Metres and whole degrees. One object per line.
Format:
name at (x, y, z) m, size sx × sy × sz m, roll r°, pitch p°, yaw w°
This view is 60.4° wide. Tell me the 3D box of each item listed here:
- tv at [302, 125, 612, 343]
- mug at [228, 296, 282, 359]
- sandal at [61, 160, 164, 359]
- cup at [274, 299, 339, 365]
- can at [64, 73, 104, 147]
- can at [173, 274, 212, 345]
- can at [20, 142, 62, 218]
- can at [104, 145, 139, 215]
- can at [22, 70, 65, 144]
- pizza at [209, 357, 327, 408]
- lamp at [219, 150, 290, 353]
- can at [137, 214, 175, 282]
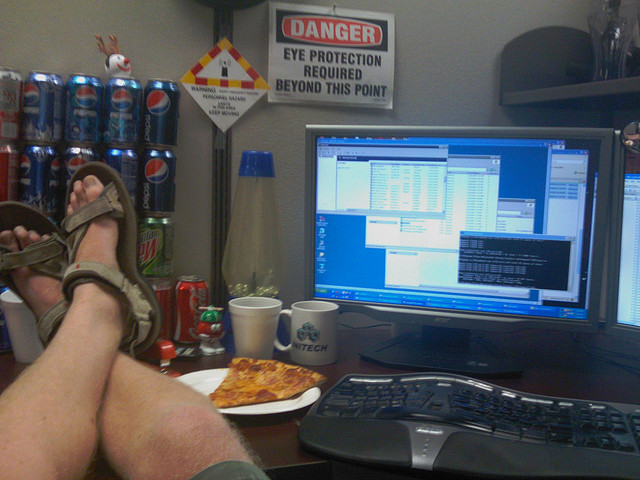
tv at (0.261, -0.024, 1.032) m, size 0.474 × 0.287 × 0.048 m, roll 3°, pitch 9°, yaw 18°
mug at (-0.134, 0.161, 1.071) m, size 0.095 × 0.102 × 0.139 m, roll -1°, pitch 7°, yaw -17°
sandal at (-0.400, 0.009, 1.106) m, size 0.177 × 0.425 × 0.137 m, roll -12°, pitch -1°, yaw 11°
cup at (-0.030, 0.179, 1.059) m, size 0.150 × 0.101 × 0.087 m, roll 1°, pitch -2°, yaw 20°
can at (-0.469, -0.257, 1.090) m, size 0.075 × 0.142 × 0.035 m, roll -1°, pitch 7°, yaw -23°
can at (-0.265, 0.134, 1.108) m, size 0.078 × 0.131 × 0.074 m, roll 1°, pitch 2°, yaw 0°
can at (-0.550, -0.118, 1.082) m, size 0.077 × 0.146 × 0.032 m, roll -2°, pitch 7°, yaw -26°
can at (-0.405, -0.124, 1.112) m, size 0.061 × 0.128 × 0.051 m, roll 5°, pitch 7°, yaw 3°
can at (-0.536, -0.259, 1.065) m, size 0.074 × 0.138 × 0.031 m, roll -2°, pitch 7°, yaw -27°
pizza at (-0.100, 0.227, 0.905) m, size 0.111 × 0.036 × 0.120 m, roll -3°, pitch 8°, yaw -28°
lamp at (-0.142, 0.015, 1.178) m, size 0.159 × 0.405 × 0.145 m, roll 0°, pitch 9°, yaw -10°
can at (-0.325, 0.018, 1.129) m, size 0.049 × 0.123 × 0.075 m, roll 4°, pitch 8°, yaw 0°
